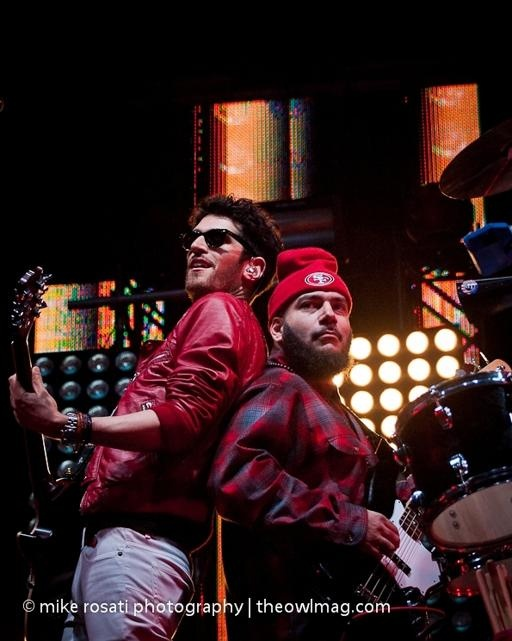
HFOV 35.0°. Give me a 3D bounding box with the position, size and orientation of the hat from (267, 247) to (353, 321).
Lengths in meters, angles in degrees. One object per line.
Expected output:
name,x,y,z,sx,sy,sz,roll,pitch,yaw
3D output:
hat,0.280,-0.179,3.733,0.349,0.319,0.361,-4,-7,-4

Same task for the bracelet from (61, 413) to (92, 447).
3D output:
bracelet,-0.580,0.356,2.703,0.124,0.100,0.090,3,-3,-7

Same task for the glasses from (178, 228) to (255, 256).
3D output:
glasses,-0.179,-0.324,3.664,0.175,0.051,0.193,-3,-13,34
